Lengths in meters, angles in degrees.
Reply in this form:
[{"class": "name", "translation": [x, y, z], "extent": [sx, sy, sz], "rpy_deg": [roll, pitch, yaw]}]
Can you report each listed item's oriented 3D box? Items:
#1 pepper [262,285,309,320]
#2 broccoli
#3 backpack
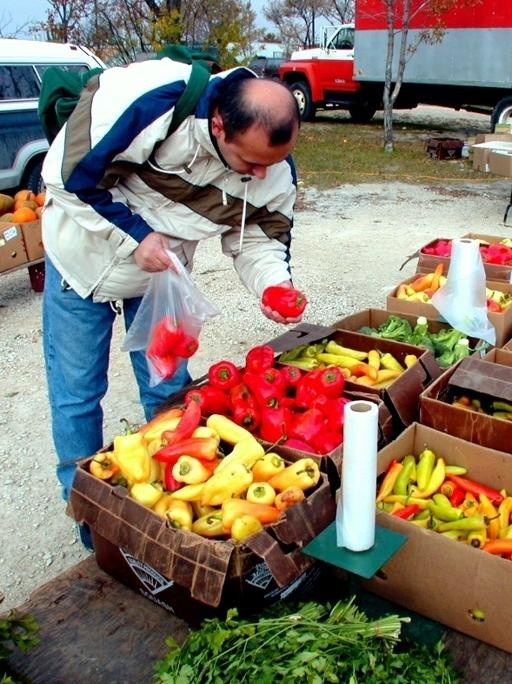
[{"class": "pepper", "translation": [0.131, -0.172, 2.193], "extent": [0.174, 0.117, 0.107], "rpy_deg": [19, -5, 37]}, {"class": "broccoli", "translation": [0.969, -0.026, 2.935], "extent": [0.577, 0.175, 0.351], "rpy_deg": [28, 41, 27]}, {"class": "backpack", "translation": [-0.492, -1.018, 1.976], "extent": [0.659, 0.266, 0.456], "rpy_deg": [-27, 32, -11]}]
